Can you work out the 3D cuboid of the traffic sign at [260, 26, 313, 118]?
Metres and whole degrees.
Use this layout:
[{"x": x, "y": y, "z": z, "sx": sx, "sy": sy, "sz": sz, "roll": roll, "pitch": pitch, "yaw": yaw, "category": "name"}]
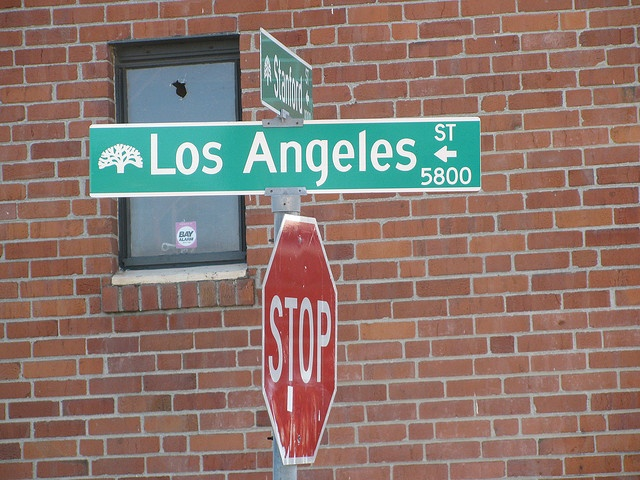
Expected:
[{"x": -0.198, "y": -1.032, "z": 11.409, "sx": 0.011, "sy": 0.554, "sz": 0.747, "roll": -7, "pitch": 10, "yaw": -27, "category": "traffic sign"}]
